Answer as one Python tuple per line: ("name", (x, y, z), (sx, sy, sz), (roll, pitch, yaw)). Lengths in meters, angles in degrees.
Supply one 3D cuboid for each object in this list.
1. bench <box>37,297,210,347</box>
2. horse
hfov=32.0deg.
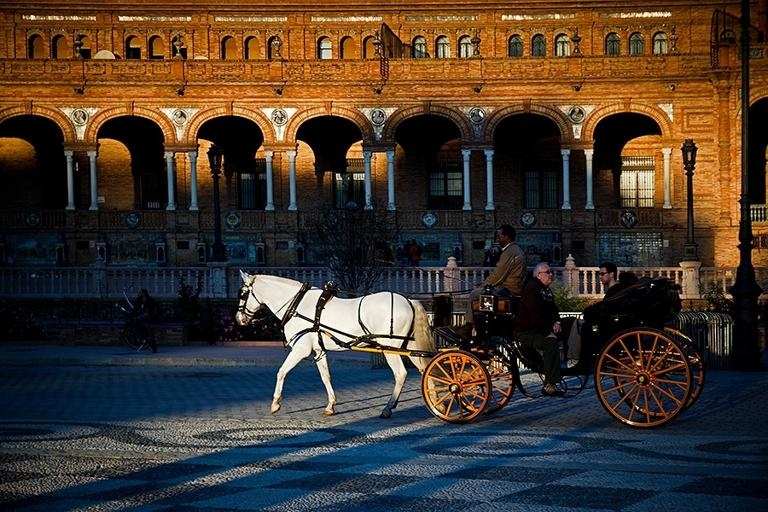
("bench", (-10.133, 2.639, 50.514), (5.759, 0.996, 1.906), (2, 0, 0))
("horse", (-1.406, 2.497, 39.034), (6.949, 3.675, 1.840), (0, -8, 26))
